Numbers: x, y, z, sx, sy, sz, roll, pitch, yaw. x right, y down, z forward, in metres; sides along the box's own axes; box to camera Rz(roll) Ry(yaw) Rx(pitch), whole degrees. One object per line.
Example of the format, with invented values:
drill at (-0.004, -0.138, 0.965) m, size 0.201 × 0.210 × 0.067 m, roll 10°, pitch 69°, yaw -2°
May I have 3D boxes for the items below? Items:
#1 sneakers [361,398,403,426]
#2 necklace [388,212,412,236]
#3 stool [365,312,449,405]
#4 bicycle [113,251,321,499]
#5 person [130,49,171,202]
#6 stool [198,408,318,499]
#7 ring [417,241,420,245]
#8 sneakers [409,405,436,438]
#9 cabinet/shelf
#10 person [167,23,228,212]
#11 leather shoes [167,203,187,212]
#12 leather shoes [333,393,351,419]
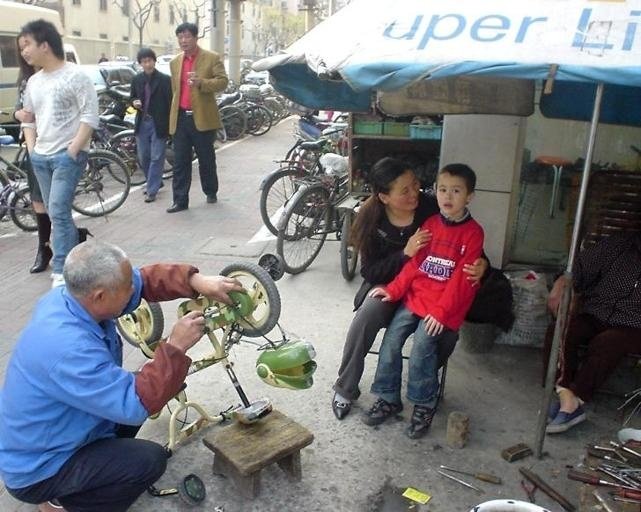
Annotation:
sneakers at (0.390, 0.984, 3.415) m, size 0.295 × 0.131 × 0.110 m, roll -13°, pitch 7°, yaw -26°
necklace at (0.541, -0.207, 3.535) m, size 0.096 × 0.050 × 0.132 m, roll 3°, pitch 25°, yaw -10°
stool at (0.574, 0.665, 3.336) m, size 0.334 × 0.560 × 0.247 m, roll 13°, pitch 12°, yaw 0°
bicycle at (-0.658, 0.596, 3.078) m, size 1.342 × 0.871 × 0.951 m, roll 7°, pitch 15°, yaw 41°
person at (-2.425, -1.850, 7.682) m, size 0.763 × 2.120 × 0.450 m, roll 19°, pitch 26°, yaw 39°
stool at (-0.345, 1.088, 2.920) m, size 0.406 × 0.257 × 0.510 m, roll 14°, pitch 15°, yaw 39°
ring at (0.610, -0.082, 3.311) m, size 0.015 × 0.015 × 0.015 m, roll -1°, pitch 30°, yaw 1°
sneakers at (0.620, 1.007, 3.236) m, size 0.086 × 0.121 × 0.259 m, roll 6°, pitch 10°, yaw 25°
cabinet/shelf at (0.728, -1.156, 5.262) m, size 0.955 × 0.960 × 0.729 m, roll 1°, pitch 25°, yaw 7°
person at (-1.736, -1.848, 7.253) m, size 0.874 × 2.442 × 0.737 m, roll -16°, pitch 27°, yaw -41°
leather shoes at (-2.009, -0.666, 7.386) m, size 0.103 × 0.119 × 0.290 m, roll 5°, pitch 7°, yaw 37°
leather shoes at (0.130, 0.955, 3.383) m, size 0.068 × 0.084 × 0.205 m, roll 0°, pitch 8°, yaw -4°
